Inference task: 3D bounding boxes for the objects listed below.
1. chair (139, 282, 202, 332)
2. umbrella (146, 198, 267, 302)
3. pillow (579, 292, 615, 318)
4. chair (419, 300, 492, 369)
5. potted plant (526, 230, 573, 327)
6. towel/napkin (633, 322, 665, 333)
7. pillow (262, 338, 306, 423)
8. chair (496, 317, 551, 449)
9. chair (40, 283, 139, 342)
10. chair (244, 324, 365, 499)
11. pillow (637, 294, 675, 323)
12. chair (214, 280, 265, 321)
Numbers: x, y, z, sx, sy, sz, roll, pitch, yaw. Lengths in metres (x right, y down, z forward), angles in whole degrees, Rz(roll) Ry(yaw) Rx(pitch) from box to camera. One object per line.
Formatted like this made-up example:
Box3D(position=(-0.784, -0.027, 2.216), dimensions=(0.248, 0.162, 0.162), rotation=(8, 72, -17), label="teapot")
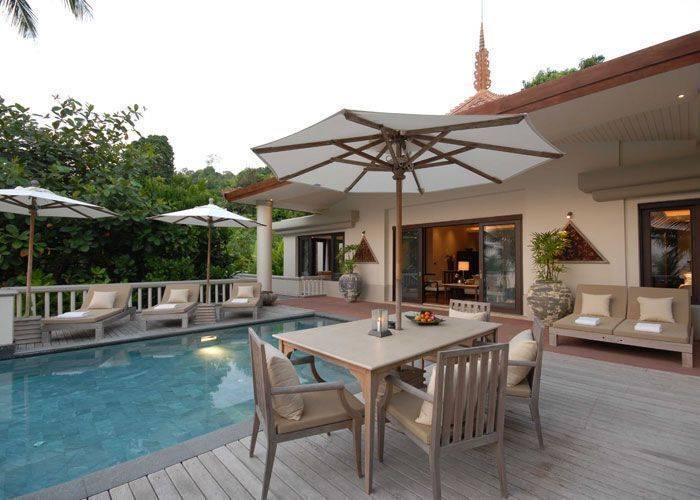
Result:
Box3D(position=(-3.872, 1.190, 9.331), dimensions=(0.947, 0.790, 1.610), rotation=(-1, 1, -8), label="chair")
Box3D(position=(-3.417, -0.166, 10.315), dimensions=(2.402, 1.871, 2.479), rotation=(-1, 5, -39), label="umbrella")
Box3D(position=(4.697, 1.058, 8.069), dimensions=(0.436, 0.400, 0.164), rotation=(-4, -31, 36), label="pillow")
Box3D(position=(1.815, 1.201, 6.572), dimensions=(1.104, 1.005, 1.000), rotation=(1, -3, -37), label="chair")
Box3D(position=(4.422, 0.558, 9.422), dimensions=(1.012, 1.970, 0.996), rotation=(-1, -3, 42), label="potted plant")
Box3D(position=(4.932, 1.305, 7.064), dimensions=(0.370, 0.183, 0.381), rotation=(-3, -3, 33), label="towel/napkin")
Box3D(position=(-0.758, 1.508, 4.863), dimensions=(0.476, 0.683, 0.842), rotation=(2, -7, -13), label="pillow")
Box3D(position=(1.952, 1.608, 5.320), dimensions=(0.982, 1.344, 0.938), rotation=(-3, 5, 9), label="chair")
Box3D(position=(-5.118, 1.215, 8.484), dimensions=(1.061, 0.852, 1.790), rotation=(-2, 2, -5), label="chair")
Box3D(position=(-0.769, 1.817, 5.373), dimensions=(1.644, 2.061, 1.514), rotation=(-1, 1, -18), label="chair")
Box3D(position=(5.430, 1.044, 7.536), dimensions=(0.468, 0.413, 0.172), rotation=(-2, -24, 30), label="pillow")
Box3D(position=(-2.590, 1.205, 10.340), dimensions=(0.839, 0.684, 1.462), rotation=(0, 5, -2), label="chair")
